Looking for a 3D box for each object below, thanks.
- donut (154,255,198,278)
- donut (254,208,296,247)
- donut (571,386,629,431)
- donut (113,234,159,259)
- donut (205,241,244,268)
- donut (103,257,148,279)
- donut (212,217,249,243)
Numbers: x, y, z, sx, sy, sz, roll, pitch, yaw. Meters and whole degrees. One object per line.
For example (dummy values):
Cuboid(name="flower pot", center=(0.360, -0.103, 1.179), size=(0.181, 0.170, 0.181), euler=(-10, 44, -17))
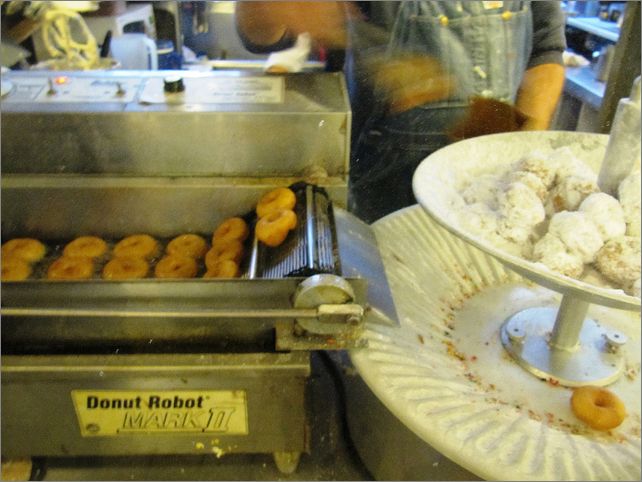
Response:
Cuboid(name="donut", center=(-0.459, 0.082, 1.821), size=(0.089, 0.024, 0.083), euler=(-3, 32, -1))
Cuboid(name="donut", center=(-0.137, -0.041, 1.731), size=(0.121, 0.041, 0.114), euler=(-22, 32, 5))
Cuboid(name="donut", center=(0.780, 0.475, 1.621), size=(0.119, 0.072, 0.118), euler=(-14, 27, -22))
Cuboid(name="donut", center=(-0.623, 0.021, 1.902), size=(0.097, 0.024, 0.092), euler=(-18, 45, -19))
Cuboid(name="donut", center=(-0.304, 0.048, 1.823), size=(0.095, 0.027, 0.090), euler=(-8, 32, 28))
Cuboid(name="donut", center=(-0.616, 0.088, 1.813), size=(0.095, 0.029, 0.093), euler=(11, 21, 29))
Cuboid(name="donut", center=(-0.299, -0.030, 1.890), size=(0.121, 0.063, 0.109), euler=(-10, 26, -14))
